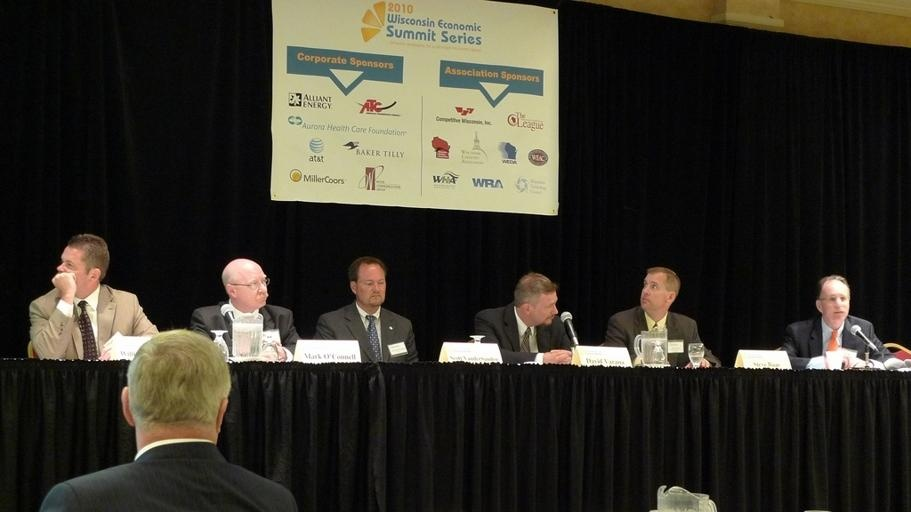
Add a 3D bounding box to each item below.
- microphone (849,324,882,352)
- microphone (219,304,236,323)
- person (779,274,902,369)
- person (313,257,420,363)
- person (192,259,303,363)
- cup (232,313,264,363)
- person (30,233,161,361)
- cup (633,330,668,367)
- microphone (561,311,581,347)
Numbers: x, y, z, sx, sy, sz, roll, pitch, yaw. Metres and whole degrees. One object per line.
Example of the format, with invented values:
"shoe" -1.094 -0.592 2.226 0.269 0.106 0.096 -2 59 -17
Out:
"microphone" 3.519 0.724 8.753 0.094 0.085 0.312 -2 29 -43
"microphone" -1.815 0.467 8.156 0.077 0.171 0.216 -13 -21 -3
"person" 3.409 0.611 9.125 0.575 1.067 0.616 -2 -17 -3
"person" -0.800 0.490 8.745 0.709 0.993 0.509 4 -27 -21
"person" -1.704 0.504 8.262 0.942 0.857 0.657 -1 10 -36
"cup" -1.517 0.562 7.449 0.225 0.392 0.232 6 32 -4
"person" -2.945 0.348 8.178 0.776 1.278 0.631 0 -37 -21
"cup" 1.503 0.736 7.879 0.247 0.249 0.153 -1 -2 26
"microphone" 1.001 0.656 8.860 0.081 0.298 0.078 -16 -14 -4
